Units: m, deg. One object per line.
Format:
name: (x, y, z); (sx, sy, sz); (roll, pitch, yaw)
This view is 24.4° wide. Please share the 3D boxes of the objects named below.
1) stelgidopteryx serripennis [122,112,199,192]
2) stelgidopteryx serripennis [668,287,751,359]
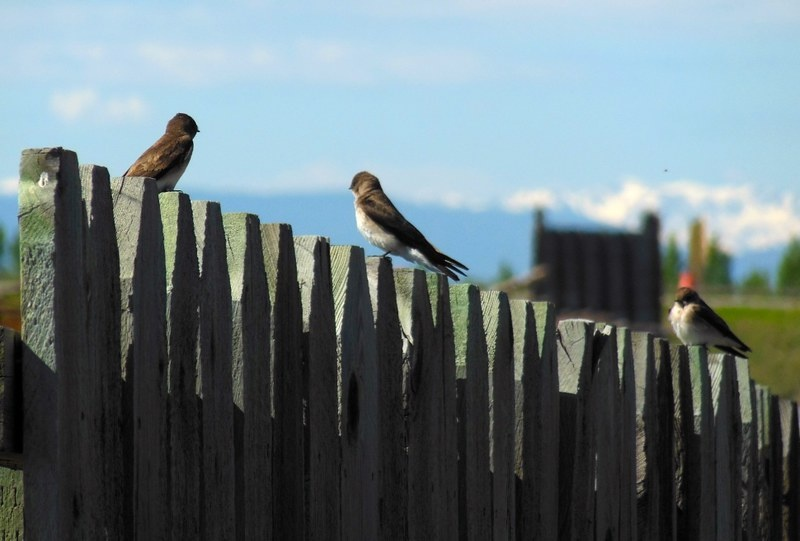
stelgidopteryx serripennis: (-1.669, -0.754, 12.928); (0.602, 0.704, 0.325); (-1, -13, -18)
stelgidopteryx serripennis: (2.587, 0.411, 15.501); (0.744, 0.545, 0.415); (1, -4, -37)
